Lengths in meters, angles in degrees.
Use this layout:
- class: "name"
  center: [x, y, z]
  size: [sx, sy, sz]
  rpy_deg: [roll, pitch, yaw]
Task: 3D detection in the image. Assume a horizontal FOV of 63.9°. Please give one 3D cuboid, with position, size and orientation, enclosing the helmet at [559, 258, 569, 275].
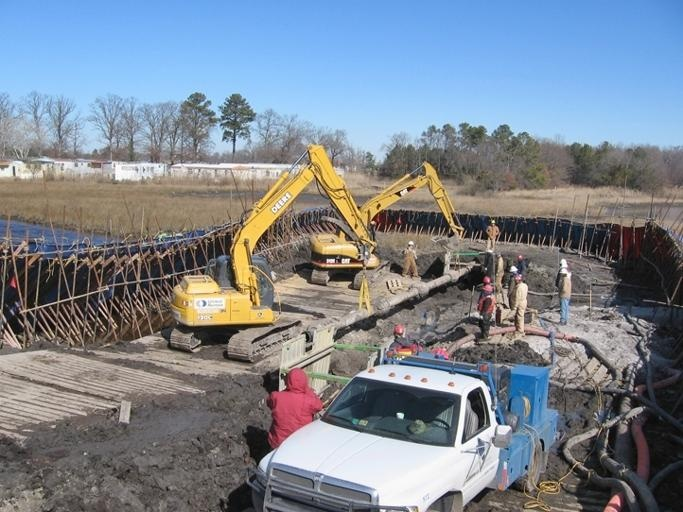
- class: "helmet"
  center: [8.330, 0.372, 20.522]
  size: [0.328, 0.578, 0.516]
  rpy_deg: [12, 10, 30]

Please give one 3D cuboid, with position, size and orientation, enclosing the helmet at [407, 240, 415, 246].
- class: "helmet"
  center: [3.237, -0.604, 25.680]
  size: [0.327, 0.191, 0.494]
  rpy_deg: [8, 9, 9]

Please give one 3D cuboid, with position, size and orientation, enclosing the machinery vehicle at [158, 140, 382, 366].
- class: "machinery vehicle"
  center: [-1.701, -0.315, 16.844]
  size: [7.035, 6.120, 2.995]
  rpy_deg: [-4, 4, -40]

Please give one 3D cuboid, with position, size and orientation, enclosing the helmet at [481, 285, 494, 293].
- class: "helmet"
  center: [4.776, 1.027, 17.866]
  size: [0.393, 0.200, 0.563]
  rpy_deg: [12, 15, 21]
